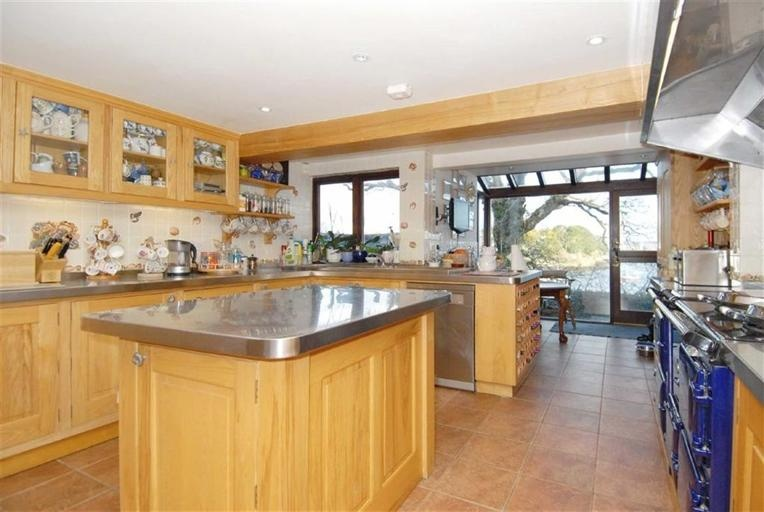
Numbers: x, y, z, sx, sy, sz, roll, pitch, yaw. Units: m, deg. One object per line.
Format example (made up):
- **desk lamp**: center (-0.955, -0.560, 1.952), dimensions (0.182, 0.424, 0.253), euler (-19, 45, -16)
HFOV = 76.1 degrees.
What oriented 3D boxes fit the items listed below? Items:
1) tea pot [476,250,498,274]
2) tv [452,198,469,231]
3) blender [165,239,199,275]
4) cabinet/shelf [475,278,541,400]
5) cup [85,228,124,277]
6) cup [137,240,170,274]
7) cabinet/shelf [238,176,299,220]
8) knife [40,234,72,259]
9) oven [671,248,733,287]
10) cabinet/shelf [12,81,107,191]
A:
- **tea pot**: center (1.036, 0.049, 4.828), dimensions (0.240, 0.178, 0.181), euler (-1, -4, 20)
- **tv**: center (1.049, -0.564, 6.642), dimensions (0.053, 0.338, 0.499), euler (-1, -3, 26)
- **blender**: center (-1.752, 0.013, 4.509), dimensions (0.234, 0.357, 0.378), euler (0, -2, 24)
- **cabinet/shelf**: center (1.097, 0.750, 4.382), dimensions (0.447, 0.845, 1.107), euler (-2, -3, 25)
- **cup**: center (-2.402, -0.050, 4.225), dimensions (0.335, 0.429, 0.217), euler (-8, 10, -36)
- **cup**: center (-2.110, -0.006, 4.484), dimensions (0.253, 0.317, 0.417), euler (-5, 9, -25)
- **cabinet/shelf**: center (-1.348, -0.656, 5.625), dimensions (0.239, 0.371, 0.900), euler (3, 2, 21)
- **knife**: center (-2.540, -0.078, 3.794), dimensions (0.203, 0.184, 0.108), euler (-7, 10, -33)
- **oven**: center (2.348, 0.085, 3.607), dimensions (0.310, 0.287, 0.315), euler (0, -2, 41)
- **cabinet/shelf**: center (-2.466, -0.943, 3.819), dimensions (0.623, 0.763, 0.385), euler (8, 26, -22)
